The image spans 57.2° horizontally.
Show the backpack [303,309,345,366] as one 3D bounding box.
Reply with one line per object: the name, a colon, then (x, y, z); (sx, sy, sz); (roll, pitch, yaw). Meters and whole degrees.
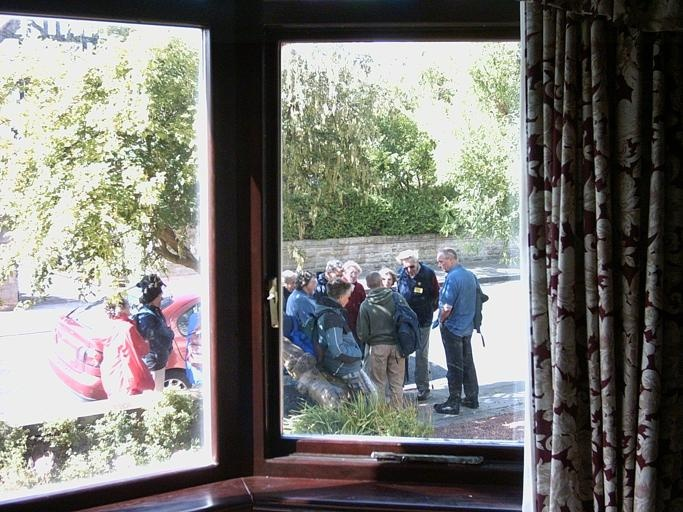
backpack: (-0.060, 0.279, 2.276); (0.136, 0.211, 0.076); (1, 4, 37)
